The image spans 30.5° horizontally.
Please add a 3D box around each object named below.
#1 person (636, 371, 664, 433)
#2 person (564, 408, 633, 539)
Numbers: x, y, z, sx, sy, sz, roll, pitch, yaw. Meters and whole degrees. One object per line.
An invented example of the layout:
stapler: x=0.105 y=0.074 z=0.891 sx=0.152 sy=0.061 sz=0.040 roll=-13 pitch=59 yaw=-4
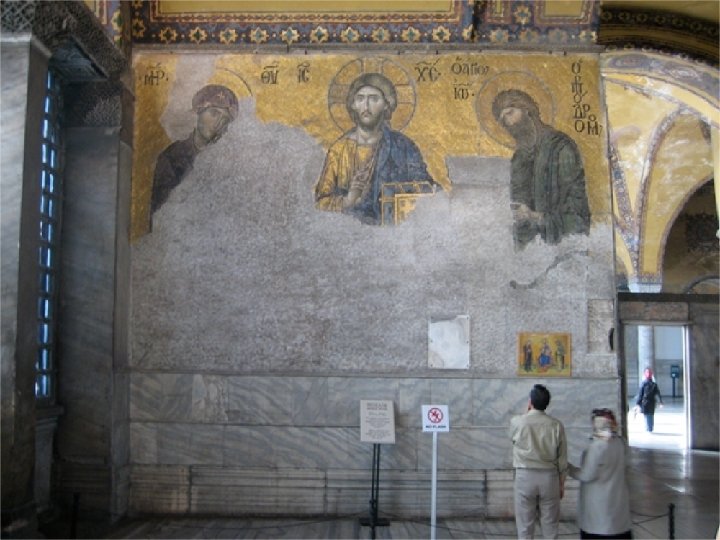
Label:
person: x=6.287 y=2.822 z=28.791 sx=0.489 sy=1.444 sz=1.089 roll=-1 pitch=-12 yaw=12
person: x=3.552 y=2.996 z=19.429 sx=0.797 sy=1.868 sz=0.428 roll=-1 pitch=-11 yaw=11
